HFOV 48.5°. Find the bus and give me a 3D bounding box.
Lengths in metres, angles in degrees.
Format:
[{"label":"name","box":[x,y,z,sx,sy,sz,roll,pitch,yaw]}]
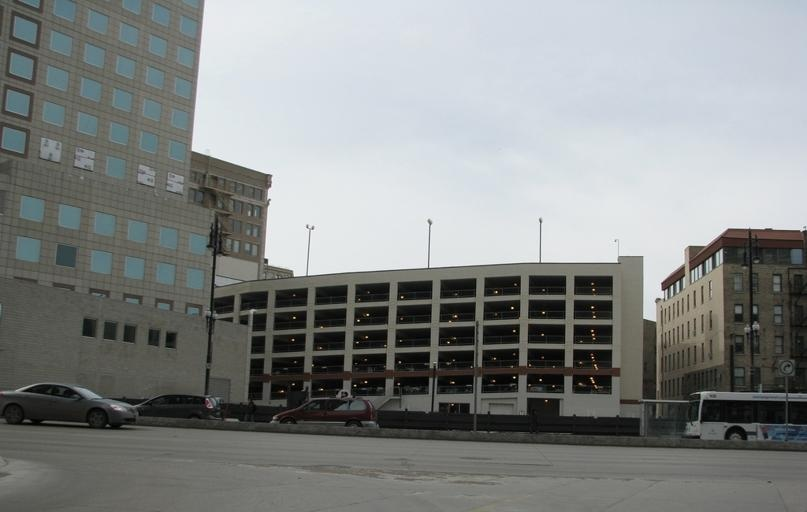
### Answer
[{"label":"bus","box":[24.851,10.740,59.791,11.207,3.396,3.281,0,-12,10]}]
